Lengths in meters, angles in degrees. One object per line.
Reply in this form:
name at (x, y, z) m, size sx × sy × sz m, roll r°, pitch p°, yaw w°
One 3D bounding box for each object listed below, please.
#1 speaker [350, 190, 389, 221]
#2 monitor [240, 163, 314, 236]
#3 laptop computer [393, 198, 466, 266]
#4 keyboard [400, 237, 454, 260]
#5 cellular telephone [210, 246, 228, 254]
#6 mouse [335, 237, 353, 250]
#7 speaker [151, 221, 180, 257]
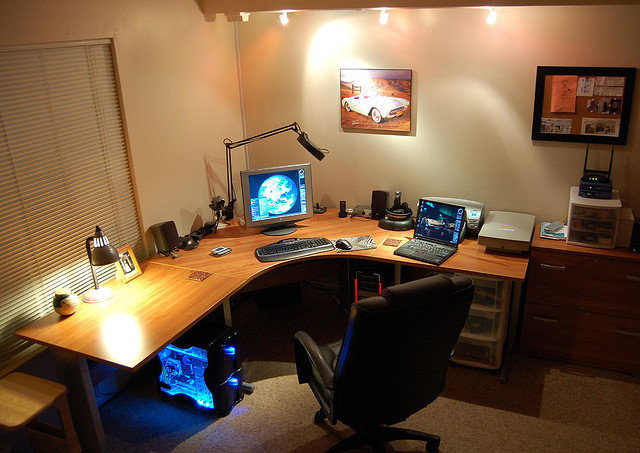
speaker at (0.469, -0.219, 4.441) m, size 0.203 × 0.350 × 0.248 m, roll 9°, pitch 28°, yaw 17°
monitor at (-0.420, -0.293, 4.294) m, size 0.701 × 0.602 × 0.334 m, roll -11°, pitch 26°, yaw -27°
laptop computer at (0.908, 0.034, 3.847) m, size 0.457 × 0.346 × 0.518 m, roll 16°, pitch 29°, yaw 42°
keyboard at (0.910, 0.178, 3.879) m, size 0.389 × 0.041 × 0.254 m, roll 12°, pitch 21°, yaw 36°
cellular telephone at (-0.864, 0.195, 3.984) m, size 0.121 × 0.021 × 0.180 m, roll 8°, pitch 19°, yaw 25°
mouse at (0.216, 0.141, 3.987) m, size 0.159 × 0.057 × 0.150 m, roll 6°, pitch 18°, yaw 20°
speaker at (-1.317, 0.106, 3.878) m, size 0.156 × 0.281 × 0.186 m, roll -2°, pitch 30°, yaw 6°
